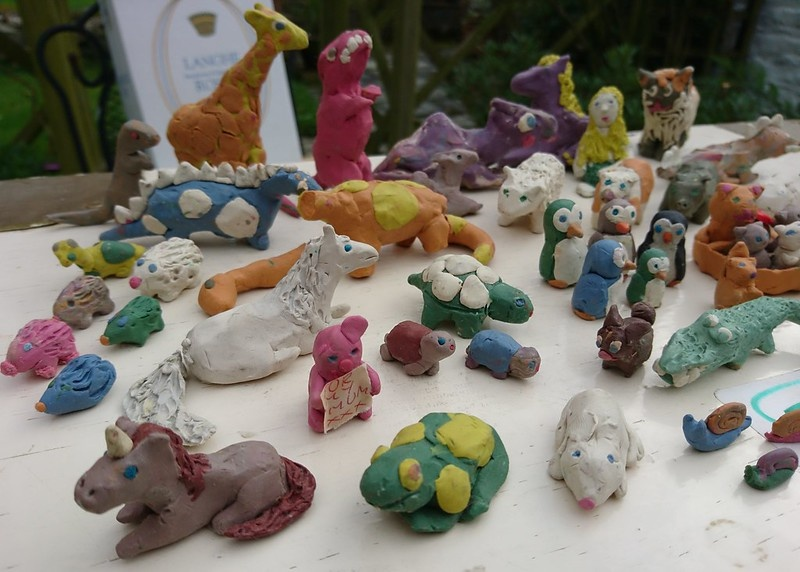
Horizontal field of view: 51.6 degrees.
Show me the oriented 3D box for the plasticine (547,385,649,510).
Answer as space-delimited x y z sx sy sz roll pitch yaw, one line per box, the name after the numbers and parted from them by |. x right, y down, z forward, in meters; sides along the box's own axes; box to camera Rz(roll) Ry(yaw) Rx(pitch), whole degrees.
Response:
0.855 0.689 3.547 0.385 0.205 0.598 4 34 12 | plasticine

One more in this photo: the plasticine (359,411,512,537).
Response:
0.149 0.773 3.443 0.603 0.326 0.386 5 32 0 | plasticine

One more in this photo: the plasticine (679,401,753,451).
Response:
1.398 0.600 3.623 0.335 0.205 0.111 -17 31 -9 | plasticine
